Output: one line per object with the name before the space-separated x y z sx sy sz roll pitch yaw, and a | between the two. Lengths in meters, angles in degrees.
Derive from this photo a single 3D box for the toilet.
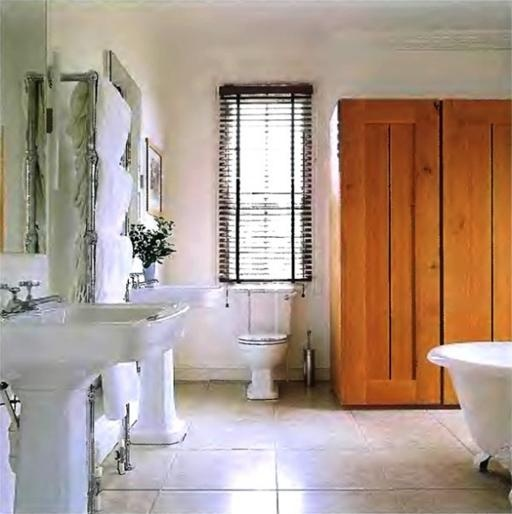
toilet | 0.066 0.508 4.189 0.343 0.644 0.566 0 0 -3

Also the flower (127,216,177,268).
flower | -0.580 -0.085 3.708 0.268 0.309 0.247 11 2 -9

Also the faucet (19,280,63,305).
faucet | -0.833 0.138 2.604 0.148 0.110 0.077 0 0 -8

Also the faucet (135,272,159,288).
faucet | -0.603 0.125 3.664 0.072 0.080 0.101 0 -5 7
